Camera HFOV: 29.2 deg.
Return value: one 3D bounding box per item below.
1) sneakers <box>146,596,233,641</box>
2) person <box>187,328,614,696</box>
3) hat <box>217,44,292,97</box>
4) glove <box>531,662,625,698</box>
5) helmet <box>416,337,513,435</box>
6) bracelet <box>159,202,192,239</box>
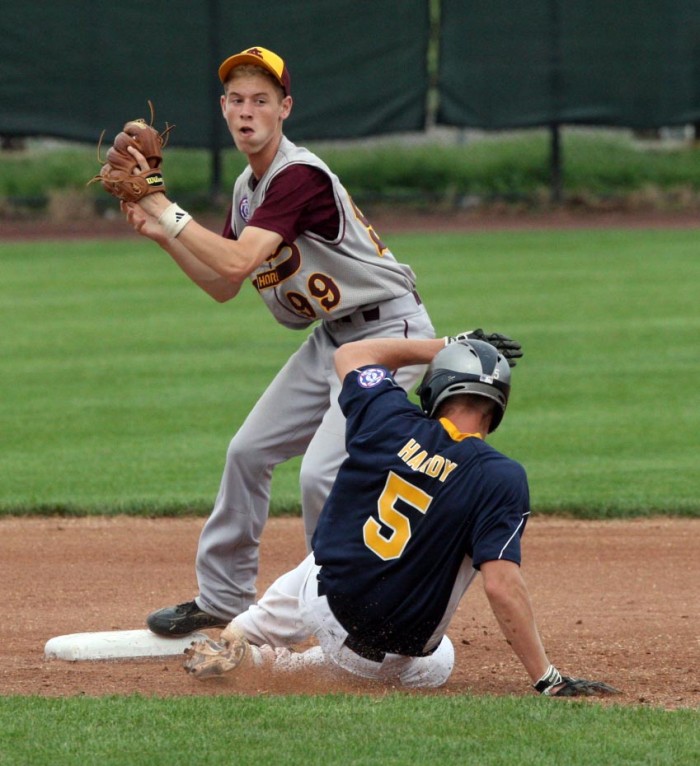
[{"bbox_3d":[-0.623,0.879,4.974,0.362,0.118,0.112,4,17,-23],"label":"sneakers"},{"bbox_3d":[0.189,0.446,4.258,1.150,1.144,0.578,8,16,28],"label":"person"},{"bbox_3d":[-0.351,-1.142,4.899,0.244,0.181,0.470,0,11,-4],"label":"hat"},{"bbox_3d":[0.700,0.942,4.292,0.352,0.108,0.106,0,-4,-26],"label":"glove"},{"bbox_3d":[0.376,0.011,4.286,0.291,0.234,0.309,13,-2,0],"label":"helmet"},{"bbox_3d":[-0.564,-0.544,4.498,0.099,0.109,0.145,5,13,20],"label":"bracelet"}]
